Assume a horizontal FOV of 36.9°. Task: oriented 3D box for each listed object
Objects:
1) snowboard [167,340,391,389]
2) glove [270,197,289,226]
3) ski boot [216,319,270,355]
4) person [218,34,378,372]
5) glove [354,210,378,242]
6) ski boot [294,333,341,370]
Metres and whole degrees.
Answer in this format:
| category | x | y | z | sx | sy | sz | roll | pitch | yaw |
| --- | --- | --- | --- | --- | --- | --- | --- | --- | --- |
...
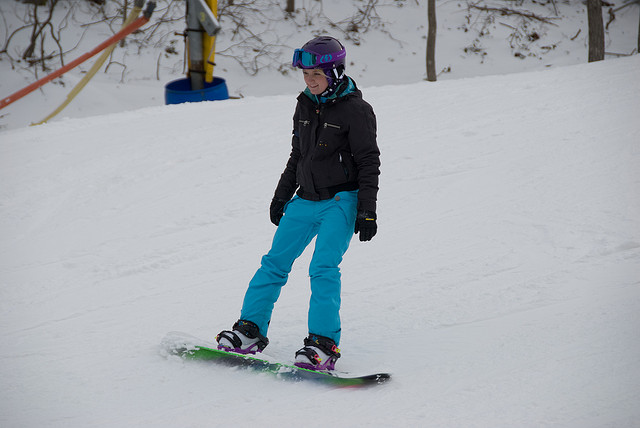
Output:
| category | x | y | z | sx | sy | sz | roll | pitch | yaw |
| --- | --- | --- | --- | --- | --- | --- | --- | --- | --- |
| snowboard | -0.457 | 1.569 | 9.877 | 2.168 | 0.215 | 0.208 | 7 | -9 | 5 |
| glove | -0.456 | -0.026 | 10.231 | 0.111 | 0.272 | 0.211 | 12 | -2 | -33 |
| ski boot | -0.793 | 1.292 | 10.049 | 0.613 | 0.295 | 0.356 | 10 | -3 | -42 |
| person | -0.102 | -0.117 | 9.946 | 1.390 | 3.365 | 0.716 | 0 | 7 | 2 |
| glove | 0.447 | 0.135 | 9.741 | 0.306 | 0.266 | 0.115 | 3 | 1 | 11 |
| ski boot | -0.026 | 1.412 | 9.913 | 0.374 | 0.345 | 0.592 | 12 | 10 | 44 |
